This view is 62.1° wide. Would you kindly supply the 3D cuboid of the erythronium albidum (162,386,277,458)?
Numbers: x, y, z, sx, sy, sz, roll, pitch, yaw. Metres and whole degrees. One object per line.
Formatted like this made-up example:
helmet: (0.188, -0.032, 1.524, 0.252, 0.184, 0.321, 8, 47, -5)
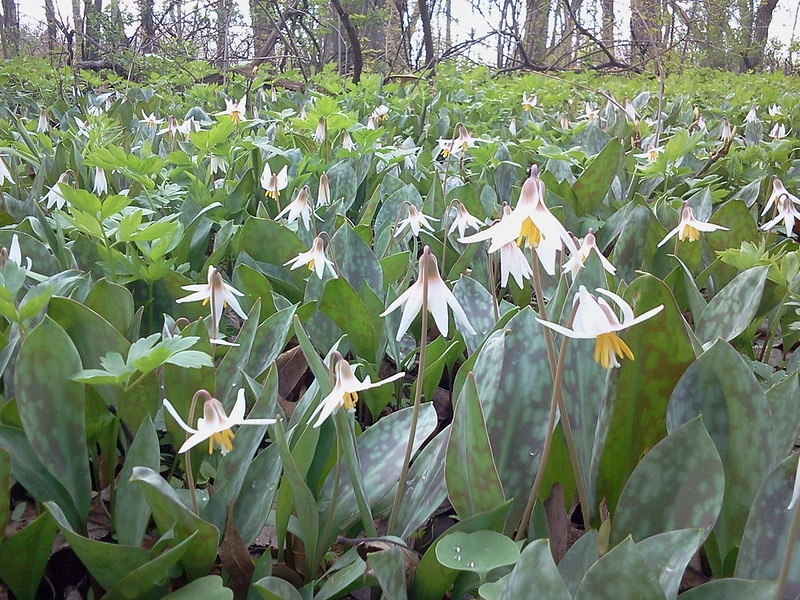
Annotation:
erythronium albidum: (-0.430, 0.286, 1.584, 0.142, 0.185, 0.192, 8, 17, 33)
